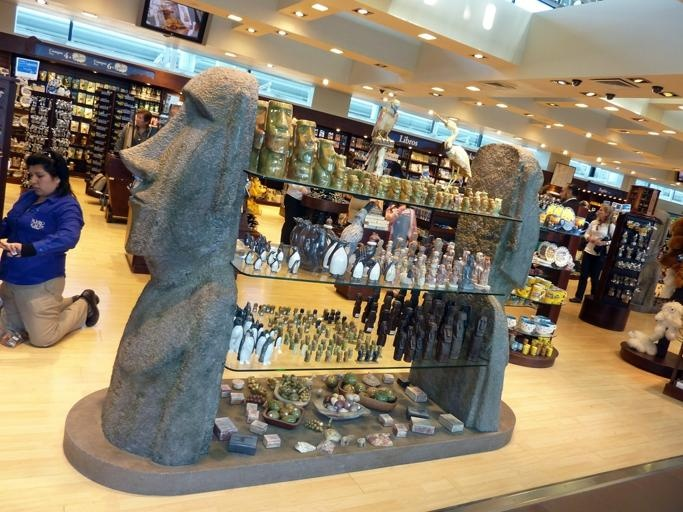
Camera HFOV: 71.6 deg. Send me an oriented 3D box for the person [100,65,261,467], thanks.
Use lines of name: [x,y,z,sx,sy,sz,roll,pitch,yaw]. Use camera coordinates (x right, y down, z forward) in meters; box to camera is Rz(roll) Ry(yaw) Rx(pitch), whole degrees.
person: [-1.008,0.037,2.915,0.715,2.430,0.856,6,16,-32]

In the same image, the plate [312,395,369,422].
plate: [0.007,1.226,3.785,0.254,0.048,0.229,5,5,-23]

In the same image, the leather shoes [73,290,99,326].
leather shoes: [-2.443,0.487,4.602,0.180,0.386,0.179,9,23,11]

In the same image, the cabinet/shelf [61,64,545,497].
cabinet/shelf: [-0.216,0.300,3.979,3.899,2.341,1.757,7,0,-35]

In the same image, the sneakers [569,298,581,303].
sneakers: [4.806,0.934,9.749,0.243,0.100,0.094,4,7,-5]

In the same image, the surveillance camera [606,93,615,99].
surveillance camera: [4.381,-2.587,7.688,0.104,0.061,0.083,0,4,-28]

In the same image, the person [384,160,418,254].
person: [0.891,-0.548,7.415,0.528,1.192,0.382,-4,26,0]

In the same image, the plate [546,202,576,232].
plate: [2.094,-0.366,4.592,0.321,0.265,0.086,3,-14,-26]
